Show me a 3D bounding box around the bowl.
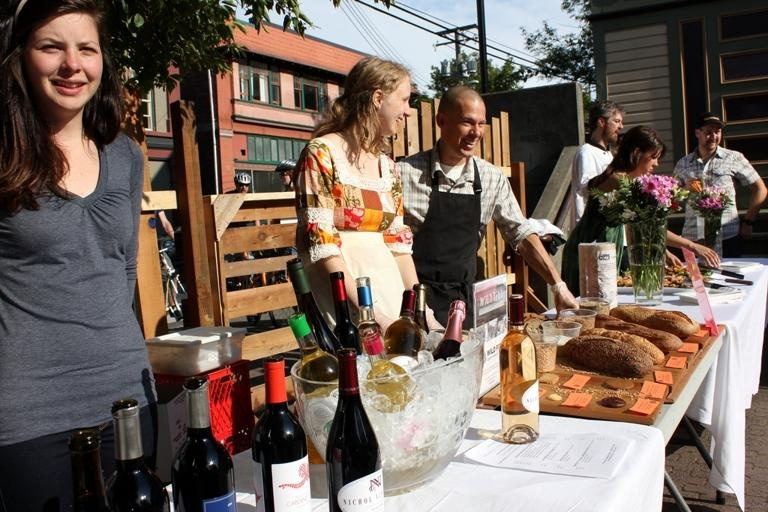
[{"bbox_3d":[0.032,0.465,1.858,0.586,0.410,0.624,-8,12,2],"label":"bowl"}]

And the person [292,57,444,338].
[{"bbox_3d":[-0.123,-0.324,3.072,0.581,1.657,0.752,0,-2,-21],"label":"person"}]

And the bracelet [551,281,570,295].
[{"bbox_3d":[1.061,0.187,3.327,0.064,0.075,0.071,-4,-1,32],"label":"bracelet"}]

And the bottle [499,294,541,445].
[{"bbox_3d":[0.469,0.382,1.931,0.136,0.488,0.129,-2,-1,0],"label":"bottle"}]

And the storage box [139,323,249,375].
[{"bbox_3d":[-0.707,0.299,2.095,0.281,0.205,0.297,-2,1,28],"label":"storage box"}]

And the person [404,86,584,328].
[{"bbox_3d":[0.676,-0.357,3.866,0.778,2.194,0.773,-3,3,-43],"label":"person"}]

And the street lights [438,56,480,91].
[{"bbox_3d":[-2.388,-0.623,9.065,0.326,1.367,0.293,-7,19,-43],"label":"street lights"}]

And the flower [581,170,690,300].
[{"bbox_3d":[1.841,-0.186,4.103,0.739,1.056,0.860,0,2,30],"label":"flower"}]
